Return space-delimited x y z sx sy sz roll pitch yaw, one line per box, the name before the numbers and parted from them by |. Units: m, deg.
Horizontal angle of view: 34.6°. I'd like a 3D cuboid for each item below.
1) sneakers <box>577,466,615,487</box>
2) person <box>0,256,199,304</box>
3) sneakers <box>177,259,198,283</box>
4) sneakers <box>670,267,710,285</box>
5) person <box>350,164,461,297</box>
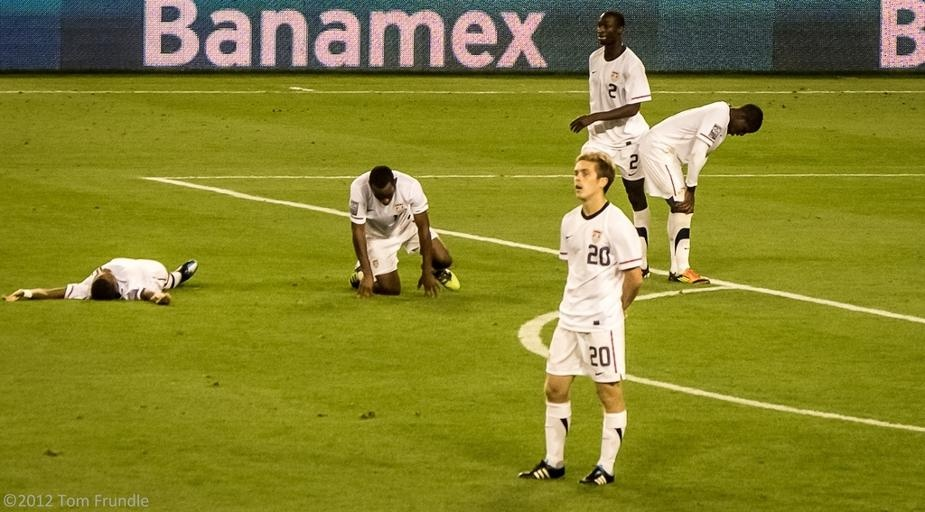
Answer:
sneakers | 1.747 2.875 19.134 0.523 0.141 0.217 0 0 2
person | -5.539 0.407 23.458 2.632 0.700 0.905 0 3 -7
sneakers | -4.452 0.239 23.957 0.229 0.188 0.542 12 27 28
sneakers | 3.748 0.376 24.453 0.649 0.164 0.273 1 2 11
person | -1.049 -0.392 23.875 1.533 2.078 0.968 -2 4 -30
